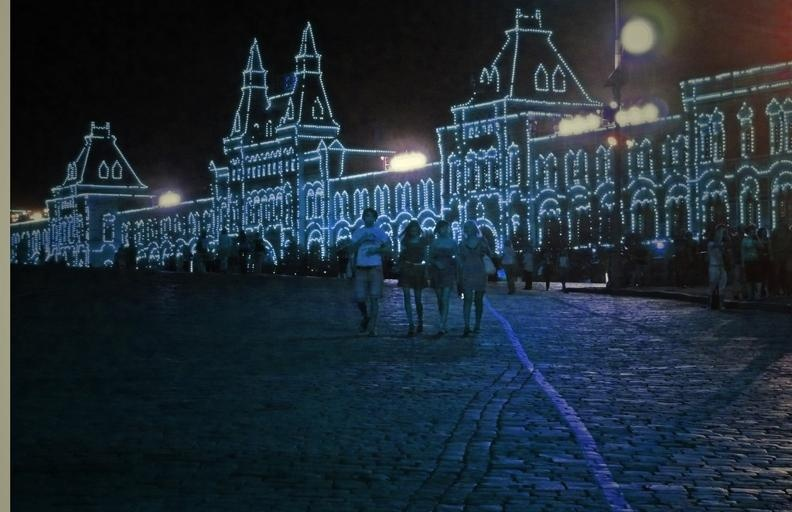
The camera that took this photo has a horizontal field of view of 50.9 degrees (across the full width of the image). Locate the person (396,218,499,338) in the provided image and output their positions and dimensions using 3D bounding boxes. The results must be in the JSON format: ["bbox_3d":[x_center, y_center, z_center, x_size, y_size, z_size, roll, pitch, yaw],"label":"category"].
[{"bbox_3d":[1.153,0.399,15.689,1.126,2.077,0.740,1,1,10],"label":"person"}]

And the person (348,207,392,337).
[{"bbox_3d":[-0.525,0.288,15.519,0.672,2.343,0.968,1,1,-3],"label":"person"}]
